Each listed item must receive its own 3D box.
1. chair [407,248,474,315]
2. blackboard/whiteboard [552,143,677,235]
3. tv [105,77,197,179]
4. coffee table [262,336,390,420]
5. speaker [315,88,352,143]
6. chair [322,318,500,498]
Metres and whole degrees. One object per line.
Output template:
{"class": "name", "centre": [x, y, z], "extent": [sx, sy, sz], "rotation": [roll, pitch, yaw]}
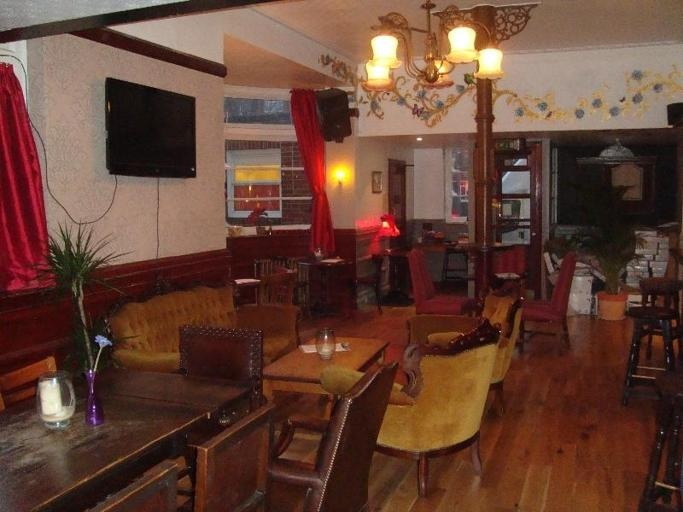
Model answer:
{"class": "chair", "centre": [1.330, 0.283, 7.291], "extent": [0.857, 1.011, 0.744], "rotation": [-3, 3, 13]}
{"class": "blackboard/whiteboard", "centre": [5.219, -1.324, 10.583], "extent": [1.970, 1.403, 0.041], "rotation": [0, 3, 11]}
{"class": "tv", "centre": [-1.685, -1.111, 4.916], "extent": [0.107, 0.753, 1.044], "rotation": [3, 3, 24]}
{"class": "coffee table", "centre": [-0.193, 0.888, 4.543], "extent": [0.657, 0.588, 1.226], "rotation": [2, 5, 19]}
{"class": "speaker", "centre": [-0.108, -2.142, 8.589], "extent": [0.519, 0.739, 0.367], "rotation": [-1, 8, -1]}
{"class": "chair", "centre": [0.637, 0.852, 4.254], "extent": [1.194, 1.288, 1.130], "rotation": [3, 4, 40]}
